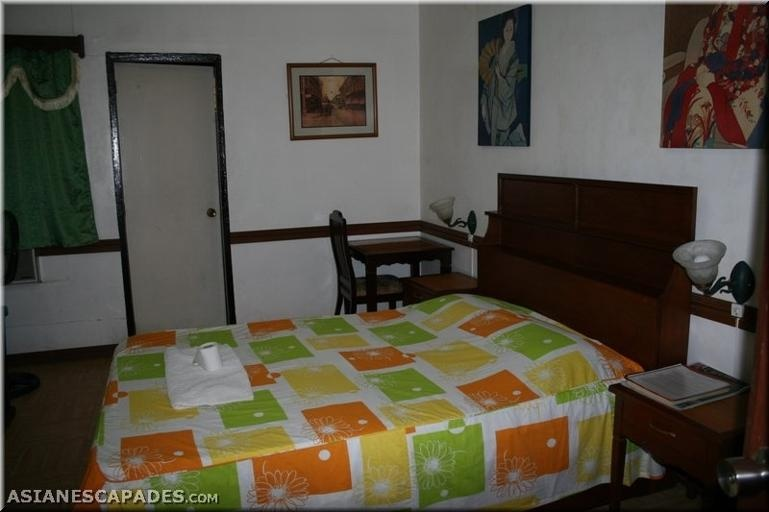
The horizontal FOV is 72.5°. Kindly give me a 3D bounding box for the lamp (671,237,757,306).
[{"bbox_3d":[1.565,0.079,2.510,0.265,0.309,0.272,-10,14,-29],"label":"lamp"}]

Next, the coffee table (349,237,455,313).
[{"bbox_3d":[0.146,0.031,4.671,0.707,0.663,0.703,-5,12,-20],"label":"coffee table"}]

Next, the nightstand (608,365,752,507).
[{"bbox_3d":[1.352,0.906,2.469,0.541,0.643,0.511,5,15,35],"label":"nightstand"}]

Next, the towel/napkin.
[{"bbox_3d":[-0.944,0.641,2.755,0.285,0.056,0.490,2,8,-27],"label":"towel/napkin"}]

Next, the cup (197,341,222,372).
[{"bbox_3d":[-0.952,0.548,2.841,0.097,0.113,0.158,-10,-5,-22],"label":"cup"}]

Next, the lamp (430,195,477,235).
[{"bbox_3d":[0.589,-0.322,4.418,0.404,0.293,0.212,2,9,13],"label":"lamp"}]

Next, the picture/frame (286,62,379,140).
[{"bbox_3d":[-0.518,-1.462,4.864,0.726,0.604,0.028,-3,8,-20],"label":"picture/frame"}]

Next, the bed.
[{"bbox_3d":[0.062,0.543,2.914,2.441,1.254,1.927,-1,12,-16],"label":"bed"}]
